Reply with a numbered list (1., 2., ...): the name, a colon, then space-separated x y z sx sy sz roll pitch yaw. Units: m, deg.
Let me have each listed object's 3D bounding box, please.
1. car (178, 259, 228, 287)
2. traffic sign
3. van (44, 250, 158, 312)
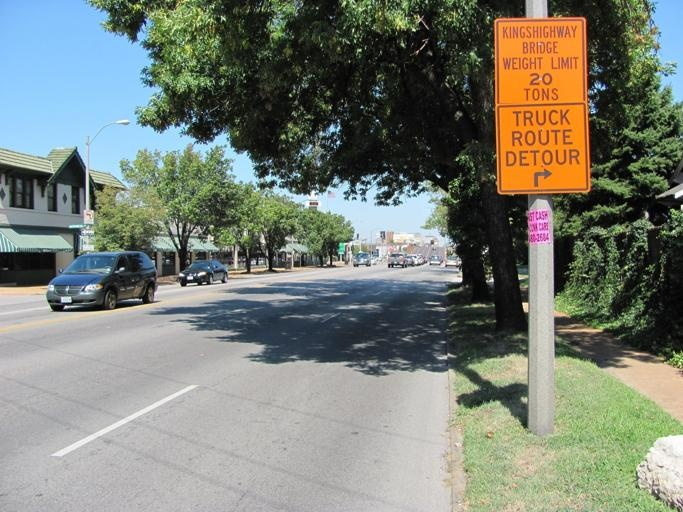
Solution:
1. car: -9.373 1.174 38.348 3.262 1.556 2.242 -2 3 -34
2. traffic sign: 2.607 -1.390 7.291 0.980 1.121 0.109 0 -4 0
3. van: -8.797 0.959 21.232 1.814 1.824 4.143 -2 -5 10
